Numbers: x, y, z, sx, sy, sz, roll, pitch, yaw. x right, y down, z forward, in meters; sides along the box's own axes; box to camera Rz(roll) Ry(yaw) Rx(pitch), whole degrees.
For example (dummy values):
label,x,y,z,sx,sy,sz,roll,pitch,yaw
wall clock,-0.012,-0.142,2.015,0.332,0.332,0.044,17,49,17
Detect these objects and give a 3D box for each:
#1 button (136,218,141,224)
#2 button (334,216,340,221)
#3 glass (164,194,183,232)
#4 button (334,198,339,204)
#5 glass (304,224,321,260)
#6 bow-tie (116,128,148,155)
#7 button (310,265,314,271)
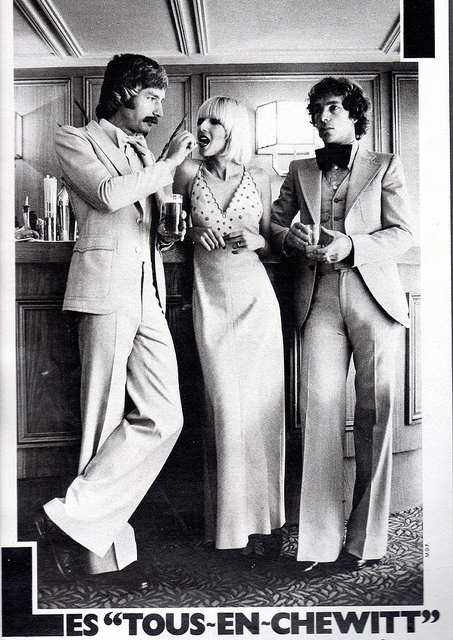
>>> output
label,x,y,z,sx,sy,sz,roll,pitch,yaw
button,-0.261,-0.292,2.066,0.004,0.015,0.015,-1,15,39
button,0.329,-0.306,2.114,0.017,0.013,0.002,0,4,3
glass,-0.154,-0.300,1.981,0.046,0.103,0.054,0,4,-5
button,0.327,-0.360,2.118,0.013,0.015,0.003,0,4,-11
glass,0.257,-0.235,2.108,0.047,0.105,0.029,1,4,7
bow-tie,-0.281,-0.524,2.066,0.088,0.070,0.018,0,4,-12
button,0.254,-0.158,2.119,0.010,0.017,0.003,1,4,14
